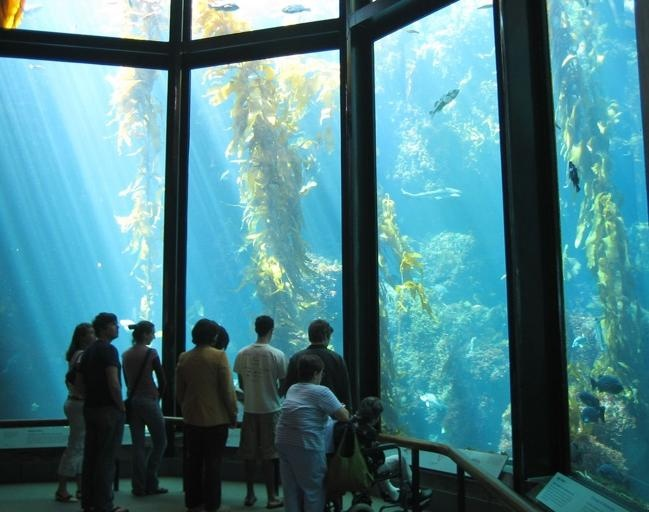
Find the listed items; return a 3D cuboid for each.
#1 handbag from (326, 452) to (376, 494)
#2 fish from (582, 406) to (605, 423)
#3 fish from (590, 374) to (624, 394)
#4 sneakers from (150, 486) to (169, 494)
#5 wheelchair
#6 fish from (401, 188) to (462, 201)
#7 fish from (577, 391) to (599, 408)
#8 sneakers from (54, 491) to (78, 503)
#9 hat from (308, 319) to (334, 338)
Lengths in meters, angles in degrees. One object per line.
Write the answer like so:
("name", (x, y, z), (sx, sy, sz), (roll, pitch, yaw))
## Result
("handbag", (0.170, 1.519, 4.755), (0.329, 0.349, 0.172), (-3, -15, 7))
("fish", (1.945, 1.139, 4.783), (0.011, 0.114, 0.209), (-2, -6, -26))
("fish", (1.999, 0.906, 4.690), (0.045, 0.130, 0.275), (-3, -5, -20))
("sneakers", (-1.538, 2.165, 6.161), (0.167, 0.074, 0.059), (1, -4, -15))
("wheelchair", (0.316, 1.543, 5.336), (1.027, 1.043, 0.660), (1, -9, -39))
("fish", (1.005, -0.556, 5.988), (0.475, 0.125, 0.143), (0, 12, 44))
("fish", (1.921, 1.037, 4.822), (0.039, 0.077, 0.157), (17, 19, -21))
("sneakers", (-2.322, 2.177, 5.978), (0.191, 0.069, 0.091), (-7, -13, 27))
("hat", (-0.026, 0.595, 5.589), (0.133, 0.174, 0.170), (1, 4, 9))
